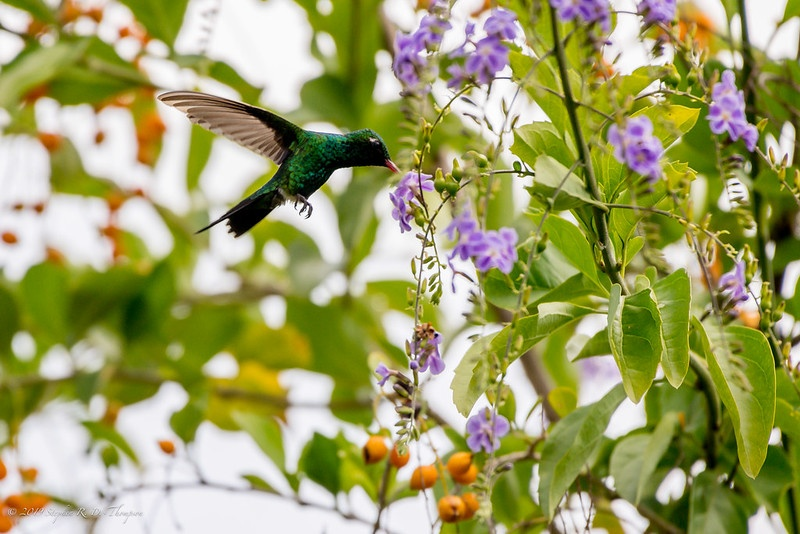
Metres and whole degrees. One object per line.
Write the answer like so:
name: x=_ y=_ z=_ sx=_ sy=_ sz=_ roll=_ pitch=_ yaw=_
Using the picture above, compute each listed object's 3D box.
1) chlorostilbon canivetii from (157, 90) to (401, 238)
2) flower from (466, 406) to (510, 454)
chlorostilbon canivetii: x=-0.332 y=-0.210 z=2.861 sx=0.470 sy=0.294 sz=0.440 roll=0 pitch=-12 yaw=6
flower: x=0.193 y=0.357 z=2.309 sx=0.079 sy=0.103 sz=0.140 roll=9 pitch=-17 yaw=-22
